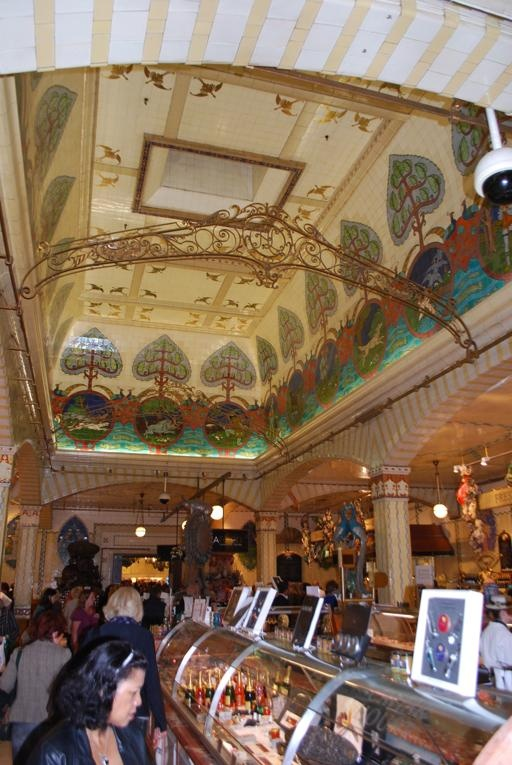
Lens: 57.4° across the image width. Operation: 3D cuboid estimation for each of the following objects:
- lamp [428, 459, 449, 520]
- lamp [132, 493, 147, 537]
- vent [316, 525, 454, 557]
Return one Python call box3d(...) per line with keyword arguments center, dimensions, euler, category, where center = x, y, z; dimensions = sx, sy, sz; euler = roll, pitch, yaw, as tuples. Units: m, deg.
box3d(center=(5.464, 3.242, 13.951), dimensions=(0.449, 1.650, 4.344), euler=(-7, -15, 21), category="lamp")
box3d(center=(-4.164, 4.846, 17.040), dimensions=(0.445, 1.540, 1.961), euler=(2, -14, -13), category="lamp")
box3d(center=(4.720, 4.878, 14.666), dimensions=(2.544, 0.950, 2.917), euler=(-6, -15, 18), category="vent")
